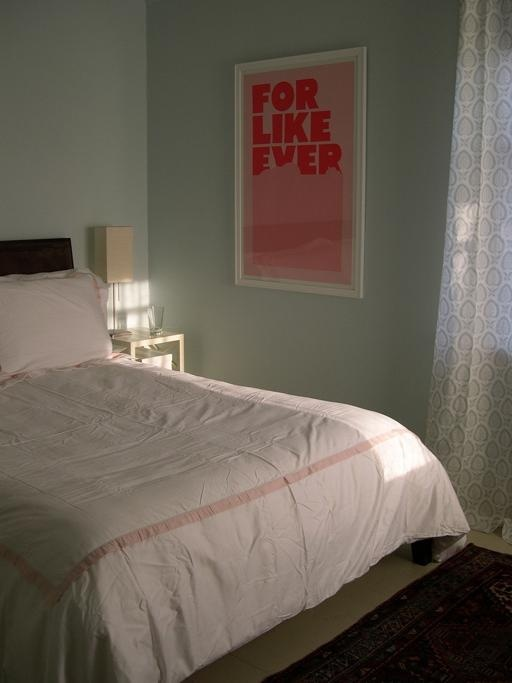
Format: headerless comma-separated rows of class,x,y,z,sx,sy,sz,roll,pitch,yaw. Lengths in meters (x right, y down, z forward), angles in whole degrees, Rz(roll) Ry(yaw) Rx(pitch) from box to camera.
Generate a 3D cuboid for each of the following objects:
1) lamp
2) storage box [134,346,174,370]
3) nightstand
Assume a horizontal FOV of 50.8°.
lamp,-0.924,-0.365,3.635,0.247,0.658,0.251,0,-3,44
storage box,-0.669,0.103,3.513,0.202,0.121,0.197,8,9,42
nightstand,-0.742,-0.015,3.640,0.363,0.342,0.348,10,12,41
